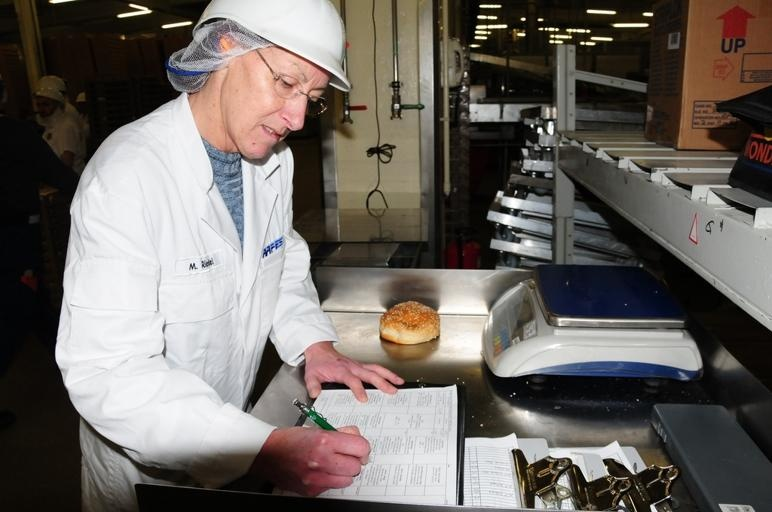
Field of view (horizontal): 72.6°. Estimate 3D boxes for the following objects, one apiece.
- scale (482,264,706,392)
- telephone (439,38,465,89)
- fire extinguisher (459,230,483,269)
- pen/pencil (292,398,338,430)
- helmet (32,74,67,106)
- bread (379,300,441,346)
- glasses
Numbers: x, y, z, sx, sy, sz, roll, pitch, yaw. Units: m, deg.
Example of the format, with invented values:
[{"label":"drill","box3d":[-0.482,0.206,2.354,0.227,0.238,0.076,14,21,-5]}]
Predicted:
[{"label":"scale","box3d":[0.602,0.206,1.646,0.582,0.239,0.417,3,23,2]},{"label":"telephone","box3d":[0.479,-1.495,4.057,0.282,0.327,0.278,-2,6,-6]},{"label":"fire extinguisher","box3d":[0.651,-0.031,4.164,0.188,0.318,0.366,5,23,8]},{"label":"pen/pencil","box3d":[-0.186,0.424,1.393,0.114,0.027,0.030,35,-20,-18]},{"label":"helmet","box3d":[-2.069,-1.024,3.269,0.143,0.157,0.183,15,9,-19]},{"label":"bread","box3d":[0.085,0.227,1.879,0.195,0.099,0.201,10,28,16]},{"label":"glasses","box3d":[-0.259,-0.465,1.373,0.130,0.043,0.132,17,34,-57]}]
